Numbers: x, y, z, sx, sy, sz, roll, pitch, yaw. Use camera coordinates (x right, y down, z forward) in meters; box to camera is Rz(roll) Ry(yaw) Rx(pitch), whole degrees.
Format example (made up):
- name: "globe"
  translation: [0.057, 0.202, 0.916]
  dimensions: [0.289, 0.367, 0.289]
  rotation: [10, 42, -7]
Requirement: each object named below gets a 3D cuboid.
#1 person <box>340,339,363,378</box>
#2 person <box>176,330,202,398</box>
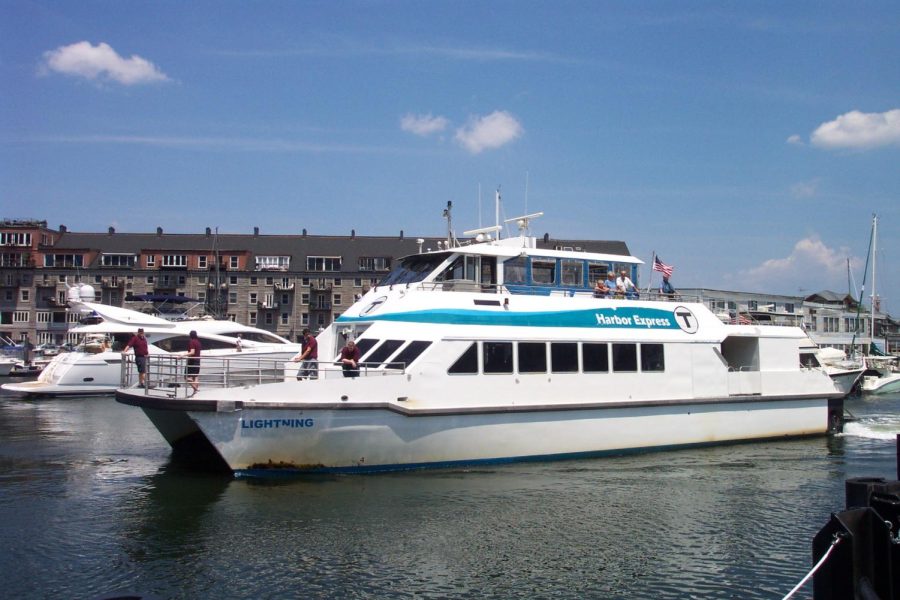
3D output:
- name: "person"
  translation: [-2.894, 1.708, 29.970]
  dimensions: [0.596, 0.764, 1.131]
  rotation: [-5, 2, -5]
- name: "person"
  translation: [-7.442, 1.797, 30.063]
  dimensions: [0.471, 1.393, 2.533]
  rotation: [-6, 3, -13]
